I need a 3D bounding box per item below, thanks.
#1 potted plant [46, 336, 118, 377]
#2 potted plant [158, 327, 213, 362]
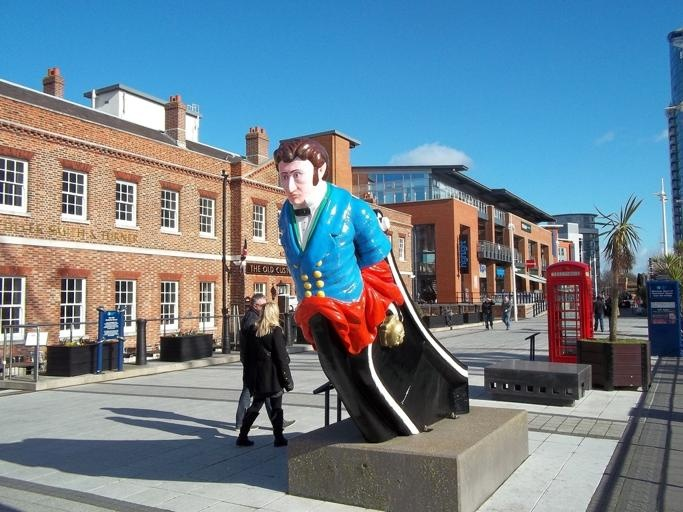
[{"bbox_3d":[-7.357,2.746,16.706,0.665,0.783,2.104,2,-1,4],"label":"potted plant"},{"bbox_3d":[-5.047,2.899,19.378,0.753,0.890,1.572,-9,-7,36],"label":"potted plant"}]
